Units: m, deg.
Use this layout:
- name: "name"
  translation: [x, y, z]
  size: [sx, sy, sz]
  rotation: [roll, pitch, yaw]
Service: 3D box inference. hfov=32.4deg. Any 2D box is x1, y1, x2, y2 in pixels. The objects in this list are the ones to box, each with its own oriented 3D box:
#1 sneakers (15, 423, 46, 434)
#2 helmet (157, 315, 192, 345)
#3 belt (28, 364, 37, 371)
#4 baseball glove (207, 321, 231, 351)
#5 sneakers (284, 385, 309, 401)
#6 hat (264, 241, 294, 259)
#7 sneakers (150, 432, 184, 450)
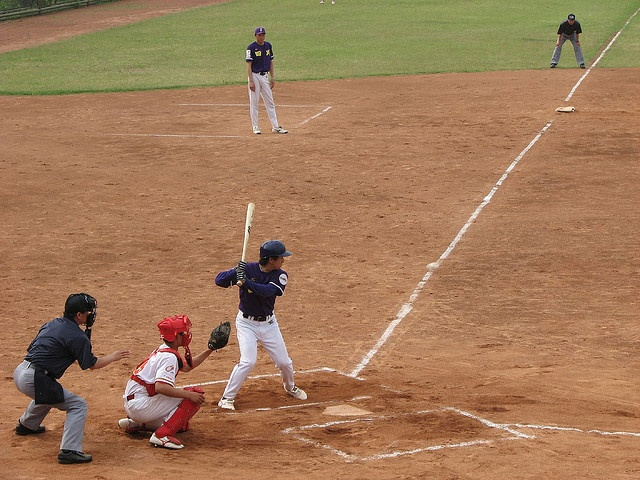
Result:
- name: "sneakers"
  translation: [-4.557, 2.957, 17.290]
  size: [0.522, 0.142, 0.160]
  rotation: [-1, 10, -12]
- name: "helmet"
  translation: [-2.317, 1.423, 17.270]
  size: [0.577, 0.342, 0.418]
  rotation: [-8, 13, -39]
- name: "belt"
  translation: [-4.361, 1.940, 16.815]
  size: [0.134, 0.042, 0.086]
  rotation: [28, -2, 6]
- name: "baseball glove"
  translation: [-1.526, 1.541, 17.642]
  size: [0.461, 0.424, 0.209]
  rotation: [15, 1, 42]
- name: "sneakers"
  translation: [-0.372, 2.557, 18.389]
  size: [0.487, 0.149, 0.156]
  rotation: [18, 54, 10]
- name: "hat"
  translation: [-0.689, 0.151, 17.942]
  size: [0.488, 0.147, 0.275]
  rotation: [-3, 11, -11]
- name: "sneakers"
  translation: [-2.343, 3.107, 16.979]
  size: [0.515, 0.132, 0.233]
  rotation: [3, 7, 1]
